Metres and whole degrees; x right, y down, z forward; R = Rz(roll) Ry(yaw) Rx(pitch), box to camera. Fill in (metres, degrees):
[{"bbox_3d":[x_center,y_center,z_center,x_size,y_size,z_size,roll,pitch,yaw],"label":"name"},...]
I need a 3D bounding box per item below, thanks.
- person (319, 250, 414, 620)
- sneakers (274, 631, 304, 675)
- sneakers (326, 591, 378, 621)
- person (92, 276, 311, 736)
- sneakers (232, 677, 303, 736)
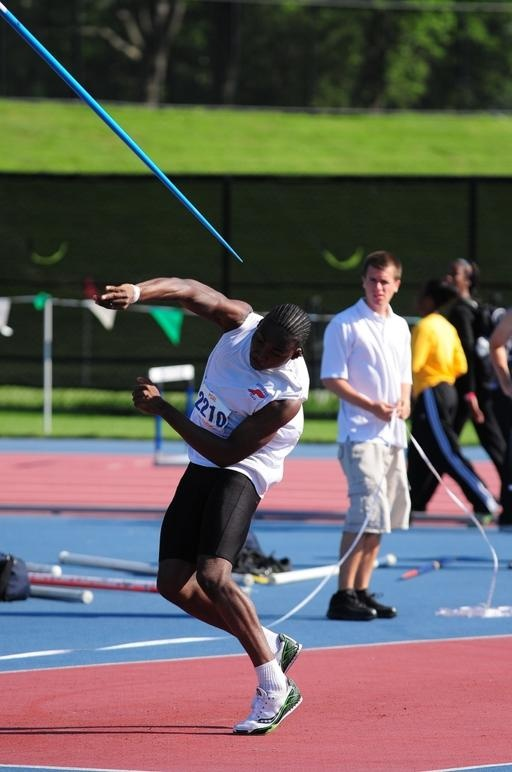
[{"bbox_3d":[0.558,0.253,5.574,0.511,1.881,0.536,5,5,8],"label":"person"},{"bbox_3d":[0.114,1.008,4.213,0.088,0.186,0.066,26,-20,-6],"label":"sneakers"},{"bbox_3d":[0.485,1.105,5.515,0.262,0.137,0.124,-1,-1,3],"label":"sneakers"},{"bbox_3d":[-0.148,0.415,4.103,0.833,1.624,0.706,2,6,-27],"label":"person"},{"bbox_3d":[0.070,1.148,3.984,0.314,0.187,0.123,-1,7,-45],"label":"sneakers"}]
